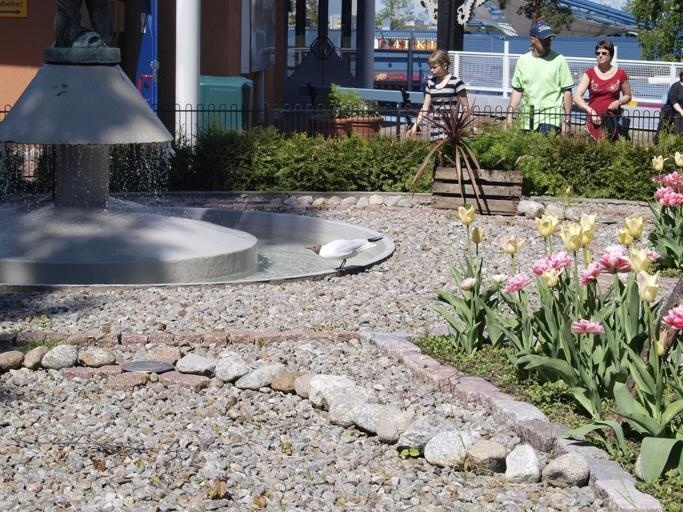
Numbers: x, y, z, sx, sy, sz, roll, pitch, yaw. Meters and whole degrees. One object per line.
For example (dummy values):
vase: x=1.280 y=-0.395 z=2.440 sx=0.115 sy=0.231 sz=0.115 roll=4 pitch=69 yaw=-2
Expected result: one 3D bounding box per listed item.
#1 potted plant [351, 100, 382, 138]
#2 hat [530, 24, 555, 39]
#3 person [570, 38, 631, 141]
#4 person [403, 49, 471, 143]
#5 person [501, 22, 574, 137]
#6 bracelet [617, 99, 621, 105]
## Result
potted plant: x=0.488 y=-2.762 z=15.627 sx=0.828 sy=0.681 sz=0.911 roll=0 pitch=6 yaw=1
hat: x=2.778 y=-3.106 z=10.881 sx=0.242 sy=0.204 sz=0.370 roll=-12 pitch=25 yaw=-20
person: x=3.969 y=-2.162 z=11.808 sx=0.751 sy=2.056 sz=0.650 roll=-4 pitch=24 yaw=11
person: x=1.395 y=-2.284 z=11.449 sx=0.769 sy=1.433 sz=2.090 roll=0 pitch=15 yaw=1
person: x=2.949 y=-2.602 z=11.585 sx=0.959 sy=1.646 sz=1.609 roll=3 pitch=15 yaw=15
bracelet: x=4.141 y=-2.299 z=11.674 sx=0.057 sy=0.029 sz=0.067 roll=-28 pitch=-9 yaw=-2
